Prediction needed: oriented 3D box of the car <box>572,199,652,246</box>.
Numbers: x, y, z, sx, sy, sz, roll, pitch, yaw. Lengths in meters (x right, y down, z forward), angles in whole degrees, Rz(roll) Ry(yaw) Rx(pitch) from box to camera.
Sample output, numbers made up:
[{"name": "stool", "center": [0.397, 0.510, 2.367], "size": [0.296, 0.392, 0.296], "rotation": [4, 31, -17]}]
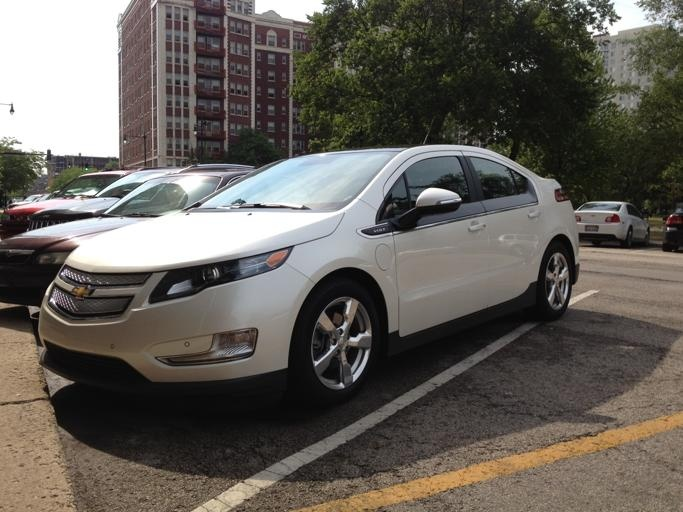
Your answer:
[{"name": "car", "center": [10.398, -1.190, 18.873], "size": [3.337, 1.739, 1.469], "rotation": [-6, 9, -39]}]
